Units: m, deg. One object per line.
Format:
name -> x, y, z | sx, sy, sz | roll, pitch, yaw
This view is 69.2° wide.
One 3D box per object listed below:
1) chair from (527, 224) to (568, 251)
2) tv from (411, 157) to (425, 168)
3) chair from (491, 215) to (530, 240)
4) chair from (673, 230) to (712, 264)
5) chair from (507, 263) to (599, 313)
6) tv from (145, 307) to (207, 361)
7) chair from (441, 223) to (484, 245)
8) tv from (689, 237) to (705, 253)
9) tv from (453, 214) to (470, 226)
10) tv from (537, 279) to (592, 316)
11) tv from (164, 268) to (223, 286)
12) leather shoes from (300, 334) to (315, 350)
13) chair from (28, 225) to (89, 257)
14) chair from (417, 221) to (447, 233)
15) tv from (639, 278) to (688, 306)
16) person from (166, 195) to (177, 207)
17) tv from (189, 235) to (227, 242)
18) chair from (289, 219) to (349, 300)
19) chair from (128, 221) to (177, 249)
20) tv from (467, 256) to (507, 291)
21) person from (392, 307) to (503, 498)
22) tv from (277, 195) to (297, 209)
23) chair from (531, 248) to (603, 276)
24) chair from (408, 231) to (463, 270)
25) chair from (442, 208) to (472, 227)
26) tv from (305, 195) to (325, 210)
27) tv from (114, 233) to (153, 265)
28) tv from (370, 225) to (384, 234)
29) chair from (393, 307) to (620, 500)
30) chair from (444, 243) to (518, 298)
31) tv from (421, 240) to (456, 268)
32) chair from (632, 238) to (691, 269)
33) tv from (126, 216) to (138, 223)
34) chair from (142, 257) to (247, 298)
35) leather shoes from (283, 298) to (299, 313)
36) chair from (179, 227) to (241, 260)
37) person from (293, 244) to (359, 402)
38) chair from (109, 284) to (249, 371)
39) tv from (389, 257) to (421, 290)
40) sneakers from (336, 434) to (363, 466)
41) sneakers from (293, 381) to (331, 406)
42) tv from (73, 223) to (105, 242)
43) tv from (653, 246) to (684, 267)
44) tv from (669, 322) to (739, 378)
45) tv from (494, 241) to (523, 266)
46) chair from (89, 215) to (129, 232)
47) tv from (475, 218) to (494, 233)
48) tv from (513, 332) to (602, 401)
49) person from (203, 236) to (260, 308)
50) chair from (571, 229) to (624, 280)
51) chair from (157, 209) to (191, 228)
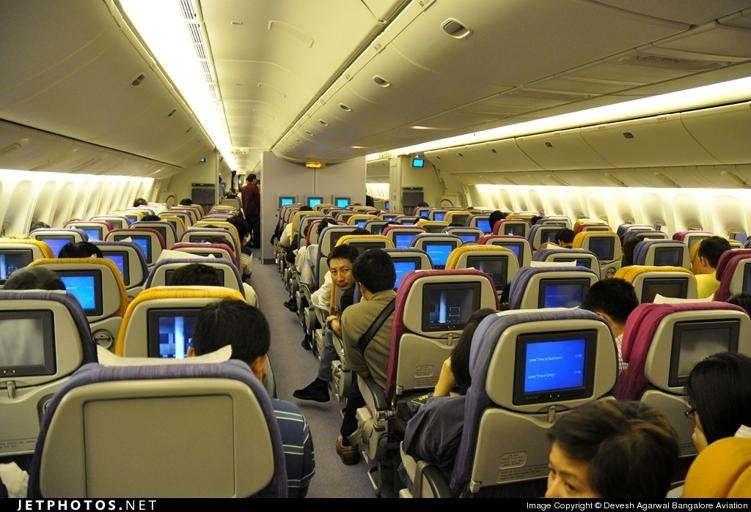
chair -> 2.739, -0.281, 8.717 | 0.460, 0.469, 0.234 | -1, -2, -28
tv -> 1.500, -3.236, 19.031 | 0.472, 0.333, 0.251 | 2, -1, -5
chair -> 2.446, -0.503, 9.918 | 0.540, 0.377, 0.284 | -1, -1, -42
chair -> 4.183, -0.107, 7.215 | 0.407, 0.607, 0.330 | 0, 15, 10
chair -> 1.493, 0.276, 4.557 | 0.364, 0.270, 0.203 | -19, 15, 1
tv -> -1.190, 0.451, 3.228 | 0.362, 0.333, 0.038 | -6, 13, -22
chair -> 1.381, -0.409, 8.626 | 0.491, 0.440, 0.267 | 0, 6, -18
tv -> 4.416, -0.155, 7.498 | 0.131, 0.202, 0.185 | 8, -13, 2
tv -> 1.908, -0.803, 12.180 | 0.352, 0.369, 0.085 | -9, -6, -1
tv -> 1.491, 0.315, 4.329 | 0.243, 0.248, 0.027 | -3, 12, -14
tv -> -1.385, 0.148, 4.124 | 0.368, 0.142, 0.173 | 1, -4, -6
leather shoes -> -0.916, 1.164, 7.426 | 0.179, 0.246, 0.247 | 2, 8, -9
chair -> -3.679, -0.170, 6.363 | 0.391, 0.347, 0.201 | -2, 20, -25
chair -> 1.008, -0.527, 9.659 | 0.273, 0.161, 0.374 | 2, 10, -4
tv -> 2.384, 0.291, 4.525 | 0.190, 0.172, 0.101 | 2, 15, 7
person -> -7.317, -1.966, 19.452 | 0.309, 0.432, 0.813 | 1, -4, -12
tv -> -1.996, -0.204, 6.451 | 0.466, 0.085, 0.121 | -2, -5, 29
chair -> -1.041, 0.034, 8.107 | 0.892, 1.249, 0.931 | -3, 18, -21
chair -> -3.004, -0.274, 7.344 | 0.330, 0.336, 0.171 | -2, 31, -20
tv -> 1.059, 0.143, 5.220 | 0.364, 0.371, 0.039 | -3, 14, -23
person -> 0.483, 0.787, 3.396 | 0.821, 0.969, 0.622 | 13, 14, 36
tv -> -2.496, -1.502, 15.200 | 0.517, 0.375, 0.065 | -1, 0, -39
chair -> 1.955, 0.063, 5.595 | 0.351, 0.324, 0.194 | -2, 20, -10
chair -> 0.791, -0.133, 7.068 | 0.744, 0.546, 0.407 | -1, 12, -9
chair -> 1.771, -0.820, 11.878 | 0.488, 0.430, 0.247 | -7, 15, -34
tv -> -1.703, -1.487, 15.104 | 0.594, 0.588, 0.318 | -3, 11, -26
tv -> -2.783, -0.094, 6.247 | 0.353, 0.327, 0.184 | -1, 16, -12
tv -> 0.041, -0.439, 8.952 | 0.167, 0.174, 0.062 | -5, 7, -2
chair -> 0.828, 0.766, 3.566 | 0.986, 1.404, 1.132 | -1, 9, -12
chair -> 1.024, 0.147, 5.198 | 0.548, 0.383, 0.196 | 0, 21, -19
tv -> 0.750, -0.032, 6.586 | 0.327, 0.250, 0.045 | -5, 13, -19
chair -> 3.552, -0.032, 6.818 | 0.791, 0.374, 0.409 | 2, -4, -19
tv -> -4.590, -0.680, 10.269 | 0.218, 0.064, 0.239 | 3, 14, -22
chair -> -1.440, 0.121, 4.359 | 0.500, 0.479, 0.383 | 1, 0, -8
leather shoes -> -1.432, 0.856, 9.386 | 0.231, 0.286, 0.329 | 4, 15, -5
chair -> -1.975, -0.241, 6.550 | 0.519, 0.538, 0.446 | 1, 5, -2
person -> -0.462, 0.732, 5.654 | 0.971, 1.860, 0.692 | -2, 29, -4
chair -> -1.223, 0.428, 3.307 | 0.659, 0.652, 0.524 | 2, 2, -15
tv -> 0.261, 0.140, 4.820 | 0.316, 0.314, 0.175 | 2, 15, 1
sneakers -> -0.242, 1.693, 4.757 | 0.137, 0.107, 0.267 | -1, 8, -13
sneakers -> -0.641, 1.429, 5.708 | 0.409, 0.263, 0.191 | 5, 0, 7
tv -> -4.007, -0.322, 7.649 | 0.261, 0.193, 0.038 | 2, 14, -6
tv -> 3.578, 0.001, 6.691 | 0.228, 0.167, 0.126 | -3, 9, -9
tv -> 1.870, 0.536, 3.133 | 0.338, 0.331, 0.036 | -2, 8, -17
tv -> 1.535, -0.035, 6.358 | 0.279, 0.258, 0.155 | -1, 13, -2
chair -> -4.287, -0.516, 8.788 | 0.320, 0.323, 0.165 | 0, 18, -17
tv -> 2.274, -0.649, 11.416 | 0.390, 0.286, 0.052 | 1, 0, -21
tv -> 0.988, 0.601, 3.018 | 0.398, 0.306, 0.056 | -2, 6, -16
person -> -1.981, 0.118, 7.196 | 0.769, 0.654, 0.747 | -34, 38, -32
chair -> 2.866, -0.014, 7.030 | 0.568, 0.829, 0.426 | 1, 19, -5
chair -> -3.587, -0.656, 9.770 | 0.432, 0.435, 0.378 | 0, 14, -13
